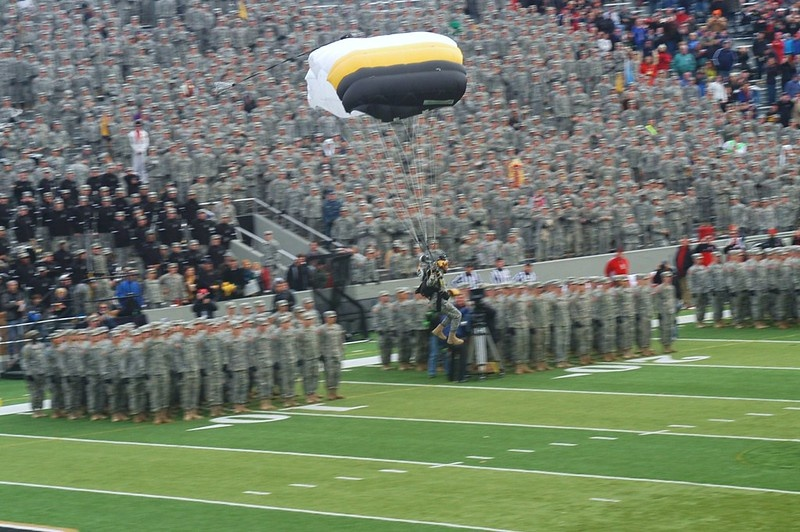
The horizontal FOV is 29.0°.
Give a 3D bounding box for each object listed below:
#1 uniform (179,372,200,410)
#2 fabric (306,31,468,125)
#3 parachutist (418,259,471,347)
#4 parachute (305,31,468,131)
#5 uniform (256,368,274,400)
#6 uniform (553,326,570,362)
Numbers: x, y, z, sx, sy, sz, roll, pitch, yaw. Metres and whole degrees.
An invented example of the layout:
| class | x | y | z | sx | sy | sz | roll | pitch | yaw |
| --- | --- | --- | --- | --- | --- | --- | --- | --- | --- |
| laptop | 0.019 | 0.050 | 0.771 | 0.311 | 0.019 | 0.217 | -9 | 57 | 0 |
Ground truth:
| class | x | y | z | sx | sy | sz | roll | pitch | yaw |
| --- | --- | --- | --- | --- | --- | --- | --- | --- | --- |
| uniform | -4.763 | 2.922 | 35.456 | 0.523 | 0.652 | 0.241 | -3 | -2 | -19 |
| fabric | -0.343 | -4.615 | 37.625 | 3.708 | 1.634 | 1.794 | -2 | -1 | 10 |
| parachutist | 0.983 | 0.834 | 36.974 | 1.895 | 2.339 | 0.752 | -3 | -4 | -41 |
| parachute | 0.240 | -4.704 | 38.700 | 5.065 | 1.404 | 3.938 | -8 | -1 | 10 |
| uniform | -3.100 | 2.748 | 35.888 | 0.470 | 0.569 | 0.261 | -3 | -2 | -19 |
| uniform | 4.107 | 2.006 | 38.654 | 0.535 | 0.751 | 0.338 | -4 | -2 | -15 |
